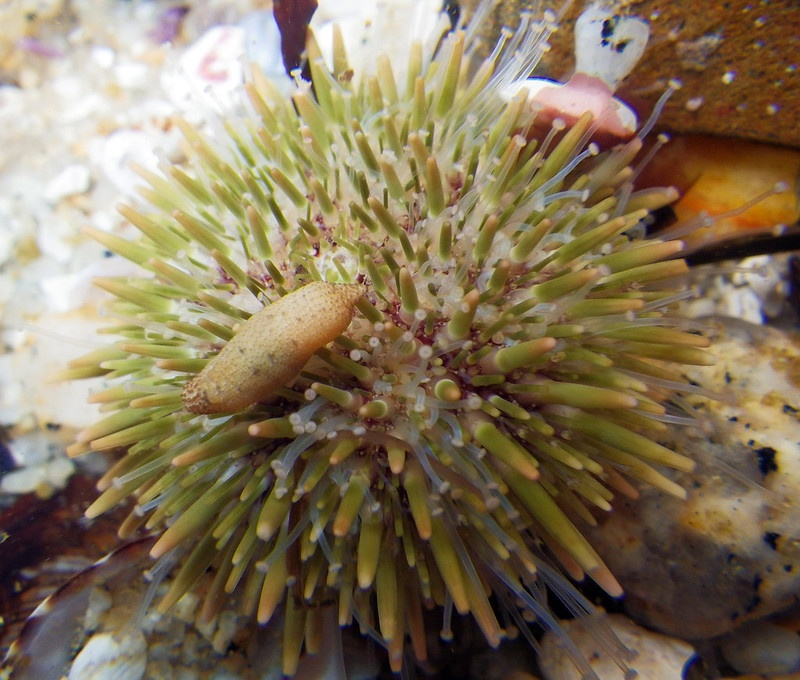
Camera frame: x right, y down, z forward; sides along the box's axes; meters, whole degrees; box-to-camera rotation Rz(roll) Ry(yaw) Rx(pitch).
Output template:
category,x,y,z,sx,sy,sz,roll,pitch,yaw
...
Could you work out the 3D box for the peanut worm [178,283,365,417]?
category,x,y,z,sx,sy,sz,roll,pitch,yaw
peanut worm,-0.330,0.033,1.655,0.537,0.132,0.177,-25,78,9
